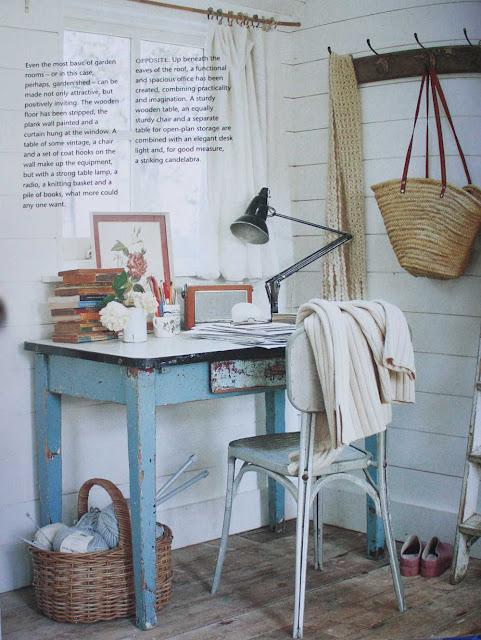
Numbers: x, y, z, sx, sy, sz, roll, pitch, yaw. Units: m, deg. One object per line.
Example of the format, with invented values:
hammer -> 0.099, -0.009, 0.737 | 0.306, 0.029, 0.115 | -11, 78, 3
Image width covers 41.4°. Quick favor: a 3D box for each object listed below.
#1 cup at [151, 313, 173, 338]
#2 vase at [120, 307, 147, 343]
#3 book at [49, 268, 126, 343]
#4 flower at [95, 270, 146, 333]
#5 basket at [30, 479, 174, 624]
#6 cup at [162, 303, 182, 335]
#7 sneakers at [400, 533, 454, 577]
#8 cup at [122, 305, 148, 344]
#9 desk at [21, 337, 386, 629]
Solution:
cup -> -0.231, 0.015, 1.926 | 0.065, 0.072, 0.039 | -1, 1, 6
vase -> -0.299, 0.015, 1.807 | 0.083, 0.099, 0.088 | 0, -2, 4
book -> -0.453, -0.042, 1.935 | 0.190, 0.233, 0.242 | 1, 2, 32
flower -> -0.357, -0.049, 1.877 | 0.114, 0.178, 0.080 | 9, -20, -27
basket -> -0.373, 0.581, 1.767 | 0.383, 0.343, 0.341 | -1, 3, -41
cup -> -0.206, -0.003, 1.926 | 0.086, 0.087, 0.054 | -2, -2, 43
sneakers -> 0.581, 0.722, 1.992 | 0.093, 0.059, 0.161 | -2, -1, 26
cup -> -0.296, 0.014, 1.807 | 0.083, 0.100, 0.089 | 0, -2, 0
desk -> -0.141, 0.292, 1.943 | 0.824, 0.773, 0.696 | -2, 2, -43
